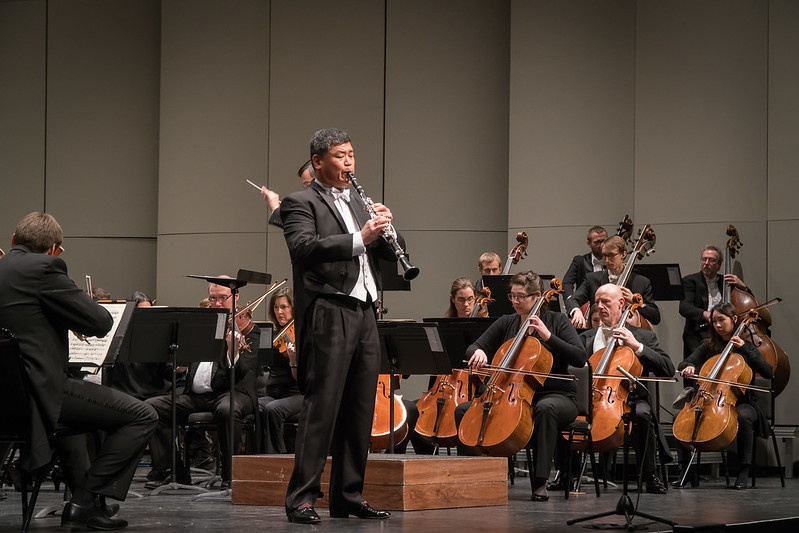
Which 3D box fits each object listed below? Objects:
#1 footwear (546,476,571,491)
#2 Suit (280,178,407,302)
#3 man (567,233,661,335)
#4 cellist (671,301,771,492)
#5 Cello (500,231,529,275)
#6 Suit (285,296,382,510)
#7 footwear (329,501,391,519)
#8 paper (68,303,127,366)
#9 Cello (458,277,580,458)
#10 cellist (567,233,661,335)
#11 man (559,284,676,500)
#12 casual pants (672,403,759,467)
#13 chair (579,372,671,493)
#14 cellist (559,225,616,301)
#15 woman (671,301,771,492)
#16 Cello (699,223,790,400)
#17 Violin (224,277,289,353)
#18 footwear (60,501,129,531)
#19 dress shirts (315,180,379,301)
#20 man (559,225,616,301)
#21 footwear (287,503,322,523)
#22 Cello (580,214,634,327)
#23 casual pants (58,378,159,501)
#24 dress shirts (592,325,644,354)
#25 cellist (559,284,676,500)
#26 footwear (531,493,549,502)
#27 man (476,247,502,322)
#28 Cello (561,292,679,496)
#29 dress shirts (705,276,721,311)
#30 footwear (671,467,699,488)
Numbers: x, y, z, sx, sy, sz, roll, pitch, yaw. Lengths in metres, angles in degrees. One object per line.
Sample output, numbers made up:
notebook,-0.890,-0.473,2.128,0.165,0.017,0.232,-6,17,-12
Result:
footwear,1.422,1.877,6.667,0.307,0.142,0.105,3,-7,-17
Suit,-0.334,-0.074,4.918,0.752,0.916,0.667,6,-16,-45
man,2.342,0.130,8.189,0.868,1.218,0.365,4,-3,10
cellist,3.039,1.281,7.254,0.853,1.790,0.657,-23,-59,39
Cello,1.415,-0.149,9.487,0.153,0.683,0.204,4,-44,37
Suit,-0.397,0.830,4.622,0.459,1.266,0.324,5,-10,-34
footwear,-0.242,1.487,4.759,0.394,0.153,0.138,0,-3,-2
paper,-2.008,0.451,5.178,0.551,0.413,0.196,-3,-22,24
Cello,0.851,0.966,6.253,0.767,1.102,0.436,-2,-9,7
cellist,2.372,0.133,8.154,0.868,1.218,0.365,4,-3,10
man,1.855,0.933,6.718,0.903,1.928,0.646,-8,-26,40
casual pants,2.868,1.525,7.034,0.452,0.302,0.882,-13,18,31
chair,1.905,1.480,6.447,0.621,1.359,0.414,-8,3,33
cellist,2.168,-0.026,8.864,0.273,0.827,0.602,1,11,-37
woman,2.993,1.215,7.195,0.853,1.790,0.657,-23,-59,39
Cello,3.728,0.582,8.170,0.328,2.158,0.792,4,-18,-23
Violin,-1.298,0.399,7.932,0.176,1.028,0.416,47,-21,-5
footwear,-1.793,1.484,4.606,0.413,0.188,0.154,5,-14,-14
dress shirts,-0.298,-0.277,4.831,0.187,1.042,0.182,10,-41,-24
man,2.119,-0.039,8.830,0.273,0.827,0.601,1,11,-37
footwear,-0.543,1.437,4.475,0.083,0.093,0.215,8,-18,-37
Cello,2.325,-0.074,8.646,0.589,1.567,0.311,4,-9,39
casual pants,-1.761,1.029,4.943,0.679,0.896,0.615,-4,-1,-30
dress shirts,1.876,0.653,6.850,0.288,0.286,0.594,3,-11,-22
cellist,1.946,0.942,6.745,0.903,1.928,0.646,-8,-26,40
footwear,1.064,1.757,5.870,0.129,0.050,0.149,-3,-10,9
man,0.963,0.180,8.389,0.254,0.744,0.127,0,3,5
Cello,1.928,0.995,6.686,0.890,1.885,0.608,-9,-19,44
dress shirts,3.491,0.305,8.646,0.092,0.370,0.206,11,-15,-29
footwear,2.670,1.971,7.186,0.406,0.213,0.139,13,-21,-43
